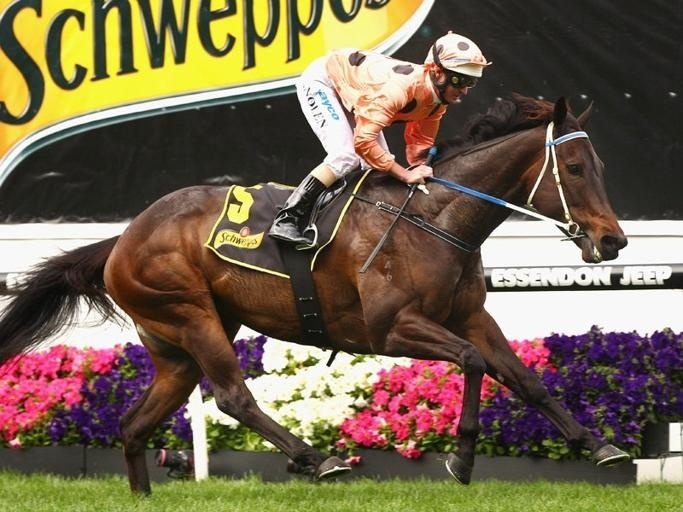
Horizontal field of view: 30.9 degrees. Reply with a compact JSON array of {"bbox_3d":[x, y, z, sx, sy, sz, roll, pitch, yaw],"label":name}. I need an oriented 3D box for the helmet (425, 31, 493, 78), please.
[{"bbox_3d":[0.728,-1.292,8.014,0.441,0.178,0.310,18,12,24],"label":"helmet"}]

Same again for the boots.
[{"bbox_3d":[-0.292,-0.296,8.033,0.388,0.437,0.178,-4,6,-5],"label":"boots"}]
